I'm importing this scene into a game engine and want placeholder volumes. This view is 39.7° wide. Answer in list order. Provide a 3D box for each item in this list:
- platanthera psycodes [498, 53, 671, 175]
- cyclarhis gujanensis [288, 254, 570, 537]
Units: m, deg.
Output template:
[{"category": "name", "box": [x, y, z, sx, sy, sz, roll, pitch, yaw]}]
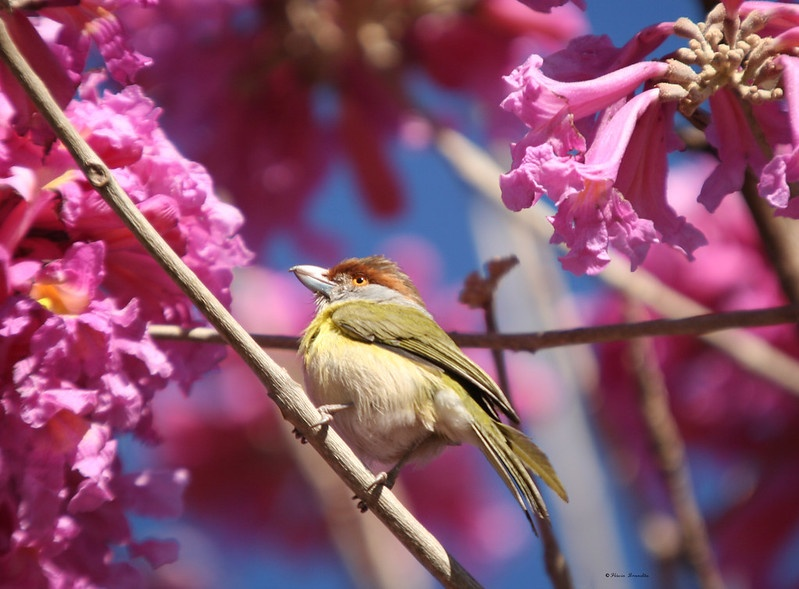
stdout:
[{"category": "platanthera psycodes", "box": [0.361, -0.363, 2.237, 0.179, 0.191, 0.234, -1, 3, -36]}, {"category": "cyclarhis gujanensis", "box": [0.033, 0.226, 2.840, 0.827, 0.417, 0.656, 9, 57, 18]}]
